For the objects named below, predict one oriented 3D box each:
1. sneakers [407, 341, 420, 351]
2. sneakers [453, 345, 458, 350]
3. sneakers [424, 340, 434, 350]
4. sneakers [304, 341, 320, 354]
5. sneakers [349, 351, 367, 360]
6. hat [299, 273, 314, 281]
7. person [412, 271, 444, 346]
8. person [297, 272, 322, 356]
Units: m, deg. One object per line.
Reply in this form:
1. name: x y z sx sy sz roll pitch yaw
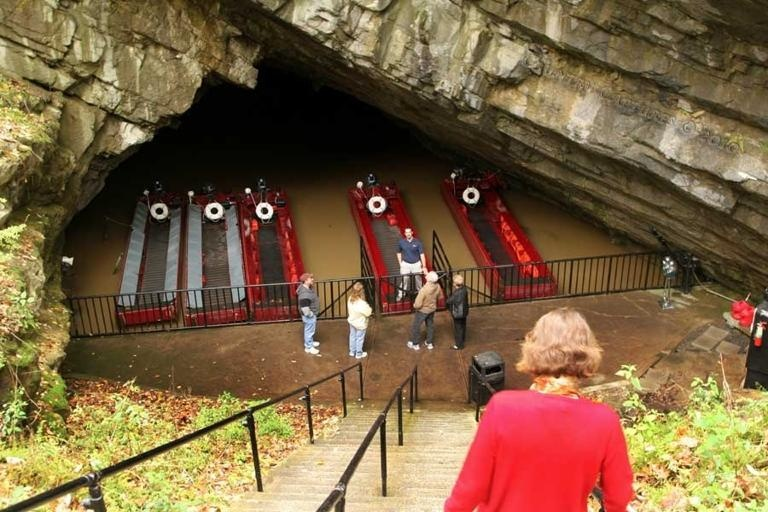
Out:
1. sneakers: 0.692 2.109 11.473 0.147 0.132 0.303 -16 31 -30
2. sneakers: 1.689 2.133 11.366 0.044 0.048 0.124 -22 29 -15
3. sneakers: 1.081 2.102 11.419 0.115 0.083 0.216 -6 18 -13
4. sneakers: -1.660 2.171 11.327 0.169 0.199 0.513 13 24 30
5. sneakers: -0.610 2.263 11.164 0.174 0.105 0.290 -4 6 -44
6. hat: -1.686 0.467 10.671 0.198 0.199 0.431 -6 -8 7
7. person: 0.914 1.283 11.346 0.846 1.815 1.555 -5 -8 0
8. person: -1.736 1.352 11.093 0.446 1.808 1.518 -4 -8 -10
